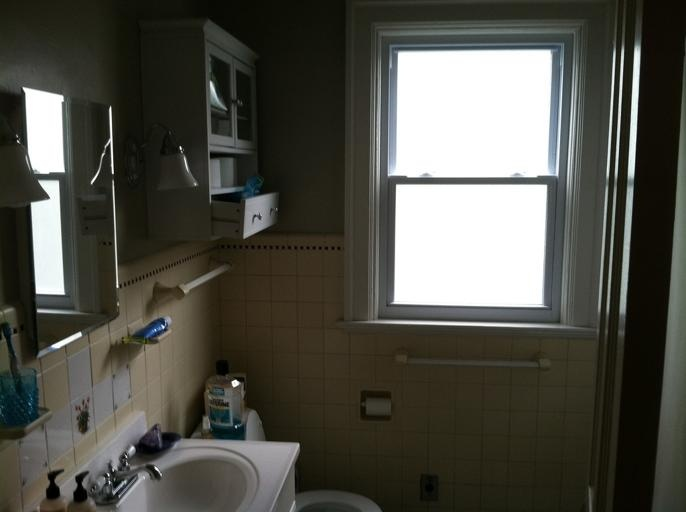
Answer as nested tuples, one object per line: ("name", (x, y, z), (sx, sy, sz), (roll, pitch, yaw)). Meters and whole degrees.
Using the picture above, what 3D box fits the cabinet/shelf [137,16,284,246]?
("cabinet/shelf", (-0.517, -0.496, 2.319), (0.435, 0.918, 0.868), (-1, 6, 4))

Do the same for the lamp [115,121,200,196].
("lamp", (-0.623, -0.333, 2.078), (0.215, 0.211, 0.144), (-3, 10, 4))

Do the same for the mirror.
("mirror", (-0.747, -0.106, 1.695), (0.063, 0.670, 0.379), (3, 8, 11))

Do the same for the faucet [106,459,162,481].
("faucet", (-0.645, 0.661, 1.876), (0.122, 0.074, 0.083), (-2, 9, 3))

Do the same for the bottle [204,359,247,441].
("bottle", (-0.457, 0.573, 2.473), (0.149, 0.279, 0.166), (-5, 10, -12))

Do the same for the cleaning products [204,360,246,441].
("cleaning products", (-0.469, 0.560, 2.474), (0.152, 0.307, 0.166), (5, 21, 18))
